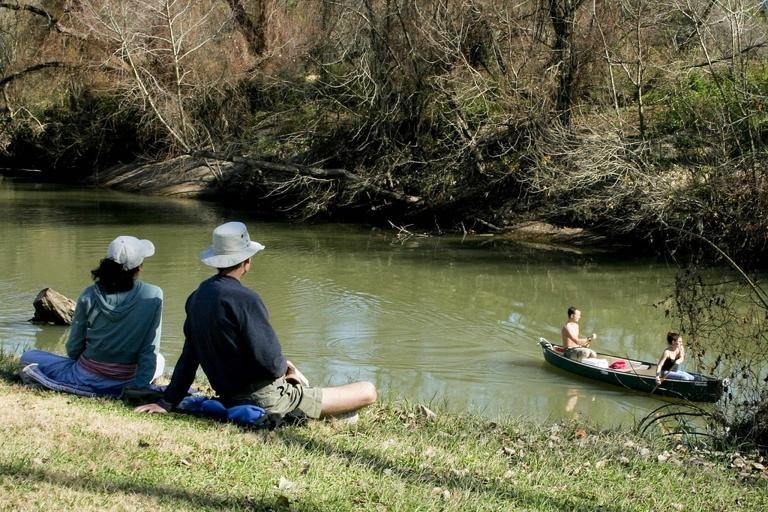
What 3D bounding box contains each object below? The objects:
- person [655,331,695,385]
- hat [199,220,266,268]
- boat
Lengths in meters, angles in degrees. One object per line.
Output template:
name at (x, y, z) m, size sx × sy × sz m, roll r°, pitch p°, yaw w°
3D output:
person at (6.445, 2.348, 23.836) m, size 0.821 × 1.257 × 0.788 m, roll -10°, pitch 14°, yaw -43°
hat at (-2.693, -0.265, 19.453) m, size 1.189 × 0.574 × 1.133 m, roll -13°, pitch 19°, yaw -33°
boat at (5.091, 2.690, 24.541) m, size 5.367 × 0.833 × 1.151 m, roll 8°, pitch 9°, yaw 35°
